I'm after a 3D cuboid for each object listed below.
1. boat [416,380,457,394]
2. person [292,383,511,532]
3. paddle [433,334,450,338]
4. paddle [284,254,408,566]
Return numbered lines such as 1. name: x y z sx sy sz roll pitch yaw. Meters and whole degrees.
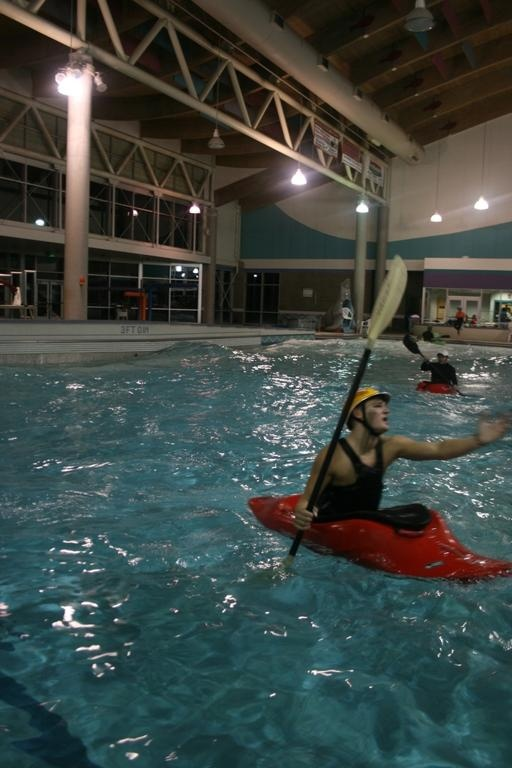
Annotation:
1. boat: 2.765 0.069 8.565 0.262 0.123 0.344 0 8 -35
2. person: 1.047 0.518 3.921 1.091 0.906 0.335 14 40 24
3. paddle: 6.539 -1.736 19.716 0.678 0.213 0.217 -4 8 -40
4. paddle: 0.409 0.127 2.591 0.462 1.475 1.089 4 7 14
